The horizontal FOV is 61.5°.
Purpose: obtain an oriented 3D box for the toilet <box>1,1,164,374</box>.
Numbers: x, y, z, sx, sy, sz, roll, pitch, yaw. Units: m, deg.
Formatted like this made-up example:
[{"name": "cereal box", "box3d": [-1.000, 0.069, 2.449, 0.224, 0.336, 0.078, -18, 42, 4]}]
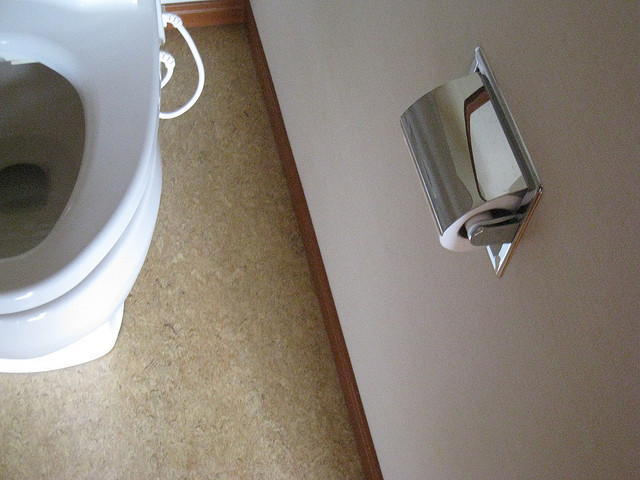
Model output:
[{"name": "toilet", "box3d": [-0.363, -0.067, 0.928, 0.339, 0.550, 0.313, 0, -11, -12]}]
